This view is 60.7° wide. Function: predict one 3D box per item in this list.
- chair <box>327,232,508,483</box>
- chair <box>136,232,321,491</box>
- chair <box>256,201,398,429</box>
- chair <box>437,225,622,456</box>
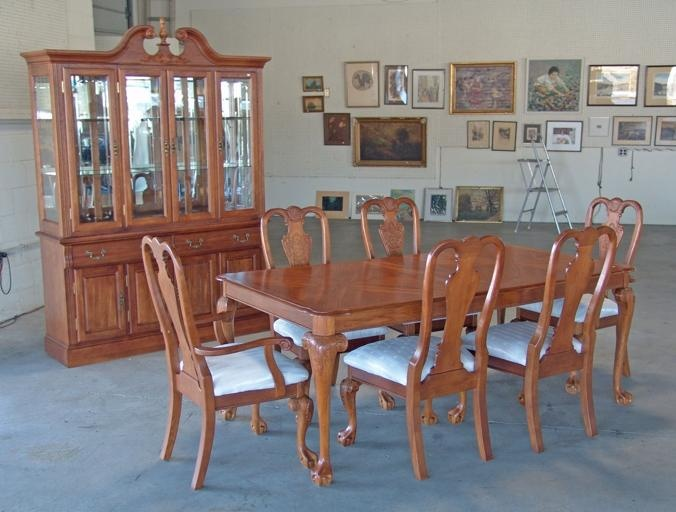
[{"bbox_3d":[0.582,0.464,3.295,0.713,1.279,0.897,9,17,42],"label":"chair"},{"bbox_3d":[-0.579,0.531,3.188,0.866,1.219,0.784,-2,8,-23],"label":"chair"},{"bbox_3d":[-0.318,0.140,4.269,1.026,1.606,1.141,-6,11,-27],"label":"chair"},{"bbox_3d":[1.167,0.455,3.602,0.934,1.283,0.908,4,7,36],"label":"chair"}]
